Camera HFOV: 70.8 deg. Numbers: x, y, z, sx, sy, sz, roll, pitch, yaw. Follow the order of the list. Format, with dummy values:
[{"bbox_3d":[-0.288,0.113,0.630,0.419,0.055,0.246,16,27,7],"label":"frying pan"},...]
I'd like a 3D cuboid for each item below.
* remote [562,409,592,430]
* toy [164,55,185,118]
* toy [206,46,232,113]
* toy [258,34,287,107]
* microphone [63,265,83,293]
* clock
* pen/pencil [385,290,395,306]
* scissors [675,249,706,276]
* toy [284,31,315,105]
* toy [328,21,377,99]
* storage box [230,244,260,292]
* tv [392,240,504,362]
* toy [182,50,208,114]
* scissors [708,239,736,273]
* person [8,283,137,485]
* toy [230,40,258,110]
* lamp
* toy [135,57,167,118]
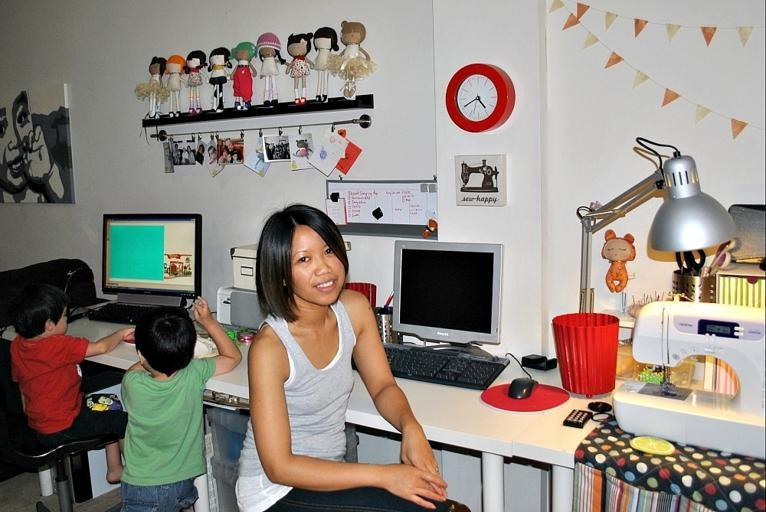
[{"bbox_3d":[0.656,0.539,1.796,0.066,0.034,0.109,6,6,45],"label":"remote"},{"bbox_3d":[-1.241,-1.014,3.217,0.109,0.343,0.182,0,4,-21],"label":"toy"},{"bbox_3d":[-0.939,-0.994,3.052,0.180,0.358,0.107,5,6,42],"label":"toy"},{"bbox_3d":[-0.606,-0.990,2.868,0.181,0.358,0.120,3,4,11],"label":"toy"},{"bbox_3d":[-1.922,0.123,3.356,0.063,0.166,0.114,29,10,30],"label":"microphone"},{"bbox_3d":[0.412,-0.672,2.281,0.269,0.284,0.077,8,16,36],"label":"clock"},{"bbox_3d":[0.039,0.210,2.685,0.022,0.101,0.023,39,51,21],"label":"pen/pencil"},{"bbox_3d":[1.102,0.022,1.917,0.080,0.095,0.083,-2,6,0],"label":"scissors"},{"bbox_3d":[-0.432,-0.962,2.787,0.169,0.368,0.124,3,4,14],"label":"toy"},{"bbox_3d":[-0.139,-0.954,2.633,0.235,0.352,0.126,4,5,29],"label":"toy"},{"bbox_3d":[-0.665,0.056,2.611,0.161,0.219,0.220,3,6,27],"label":"storage box"},{"bbox_3d":[0.303,0.189,2.329,0.471,0.441,0.156,1,0,27],"label":"tv"},{"bbox_3d":[-1.101,-1.011,3.154,0.104,0.347,0.193,-1,5,-32],"label":"toy"},{"bbox_3d":[1.238,0.003,1.953,0.039,0.143,0.087,36,-28,-4],"label":"scissors"},{"bbox_3d":[-1.499,0.680,2.684,0.546,1.050,0.382,-5,6,-40],"label":"person"},{"bbox_3d":[-0.779,-0.981,2.962,0.208,0.356,0.111,5,5,39],"label":"toy"},{"bbox_3d":[0.950,-0.110,1.924,0.437,0.687,0.601,3,4,19],"label":"lamp"},{"bbox_3d":[-1.402,-1.020,3.270,0.281,0.361,0.115,5,5,34],"label":"toy"}]
